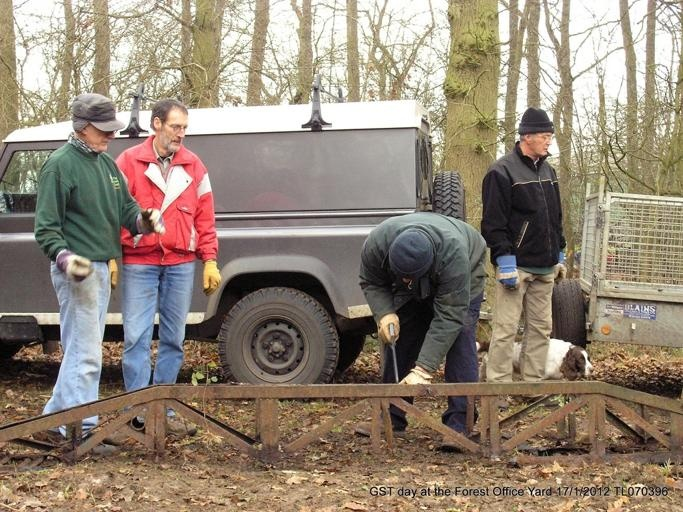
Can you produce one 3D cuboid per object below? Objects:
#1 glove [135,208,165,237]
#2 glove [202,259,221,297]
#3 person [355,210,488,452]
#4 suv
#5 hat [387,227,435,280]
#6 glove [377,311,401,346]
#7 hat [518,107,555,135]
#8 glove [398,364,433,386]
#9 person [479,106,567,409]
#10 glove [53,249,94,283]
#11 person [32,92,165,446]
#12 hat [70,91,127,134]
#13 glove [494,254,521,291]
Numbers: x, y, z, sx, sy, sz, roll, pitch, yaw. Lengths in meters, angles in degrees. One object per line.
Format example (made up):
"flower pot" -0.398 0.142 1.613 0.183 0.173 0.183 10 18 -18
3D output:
"glove" -1.629 -0.303 6.697 0.218 0.192 0.116 9 5 18
"glove" -1.212 0.193 7.325 0.207 0.296 0.116 7 -11 -27
"person" 0.720 0.659 6.812 1.123 2.066 0.972 1 4 -4
"suv" -1.219 -0.174 9.570 4.618 2.972 2.775 1 -2 5
"hat" 0.560 -0.012 6.303 0.281 0.423 0.310 8 5 1
"glove" 0.400 0.622 6.756 0.169 0.268 0.090 2 7 13
"hat" 1.948 -1.347 7.855 0.264 0.286 0.264 2 6 12
"glove" 0.643 0.999 6.590 0.229 0.120 0.154 2 -10 -7
"person" 1.828 -0.084 7.993 0.971 2.819 0.387 -1 4 -24
"glove" -2.130 0.051 6.245 0.268 0.205 0.114 38 23 12
"person" -2.077 -0.013 6.503 0.842 2.669 0.569 -1 4 -29
"hat" -2.029 -1.182 6.541 0.357 0.250 0.305 -1 33 -7
"glove" 1.632 0.165 7.766 0.206 0.329 0.307 0 5 10
